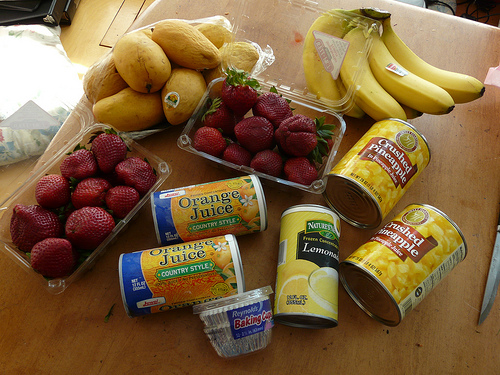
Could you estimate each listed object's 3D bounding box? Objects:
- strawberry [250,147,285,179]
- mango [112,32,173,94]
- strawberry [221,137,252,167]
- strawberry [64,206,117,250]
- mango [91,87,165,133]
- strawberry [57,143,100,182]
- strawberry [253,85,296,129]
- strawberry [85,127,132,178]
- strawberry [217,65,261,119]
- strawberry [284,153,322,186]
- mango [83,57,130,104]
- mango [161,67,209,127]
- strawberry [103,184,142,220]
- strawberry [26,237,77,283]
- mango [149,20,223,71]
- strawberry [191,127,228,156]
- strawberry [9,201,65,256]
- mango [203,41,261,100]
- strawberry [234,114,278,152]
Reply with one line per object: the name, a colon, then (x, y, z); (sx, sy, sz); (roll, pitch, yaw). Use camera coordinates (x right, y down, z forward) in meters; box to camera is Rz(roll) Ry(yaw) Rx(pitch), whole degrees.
strawberry: (0.060, -0.081, 1.576); (0.088, 0.099, 0.106); (12, 22, -1)
mango: (-0.393, -0.433, 1.625); (0.179, 0.188, 0.237); (-9, 39, -32)
strawberry: (-0.048, -0.111, 1.601); (0.098, 0.063, 0.078); (26, 40, -11)
strawberry: (-0.536, 0.132, 1.540); (0.155, 0.125, 0.142); (-14, 91, -53)
mango: (-0.414, -0.266, 1.609); (0.222, 0.136, 0.143); (-21, 75, -10)
strawberry: (-0.571, -0.072, 1.526); (0.098, 0.115, 0.121); (-13, 39, -25)
strawberry: (0.096, -0.291, 1.657); (0.136, 0.148, 0.122); (11, 9, 30)
strawberry: (-0.490, -0.122, 1.572); (0.107, 0.113, 0.138); (-2, 76, -20)
strawberry: (-0.033, -0.308, 1.624); (0.101, 0.133, 0.137); (6, 92, 4)
strawberry: (0.187, -0.056, 1.615); (0.104, 0.084, 0.066); (18, 65, 29)
mango: (-0.518, -0.391, 1.664); (0.129, 0.166, 0.097); (46, 23, -27)
mango: (-0.241, -0.364, 1.644); (0.172, 0.115, 0.137); (-2, 20, -21)
strawberry: (-0.428, 0.051, 1.520); (0.096, 0.101, 0.112); (-1, 84, -10)
strawberry: (-0.621, 0.221, 1.458); (0.128, 0.134, 0.125); (-3, 5, -9)
mango: (-0.227, -0.485, 1.641); (0.219, 0.130, 0.130); (28, 89, -8)
strawberry: (-0.140, -0.154, 1.643); (0.090, 0.101, 0.115); (19, 54, -16)
strawberry: (-0.717, 0.136, 1.532); (0.161, 0.102, 0.126); (47, 39, 16)
mango: (-0.047, -0.441, 1.740); (0.222, 0.147, 0.140); (-41, 72, -6)
strawberry: (0.012, -0.191, 1.624); (0.136, 0.125, 0.109); (-4, 20, 15)
